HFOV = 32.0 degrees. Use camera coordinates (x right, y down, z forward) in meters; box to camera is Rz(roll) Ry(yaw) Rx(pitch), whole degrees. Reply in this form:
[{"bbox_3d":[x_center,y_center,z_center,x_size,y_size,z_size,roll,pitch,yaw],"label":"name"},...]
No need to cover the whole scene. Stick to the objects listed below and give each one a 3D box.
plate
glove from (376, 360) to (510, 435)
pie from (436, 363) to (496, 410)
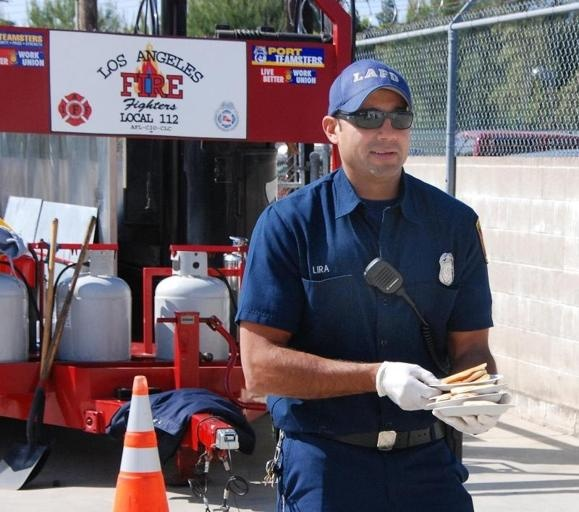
[{"bbox_3d":[0.659,0.490,3.662,0.371,0.158,0.203,4,8,-6],"label":"plate"},{"bbox_3d":[0.503,0.475,3.693,0.477,0.252,0.589,0,0,-6],"label":"glove"},{"bbox_3d":[0.652,0.463,3.689,0.335,0.122,0.407,1,0,11],"label":"pie"}]
